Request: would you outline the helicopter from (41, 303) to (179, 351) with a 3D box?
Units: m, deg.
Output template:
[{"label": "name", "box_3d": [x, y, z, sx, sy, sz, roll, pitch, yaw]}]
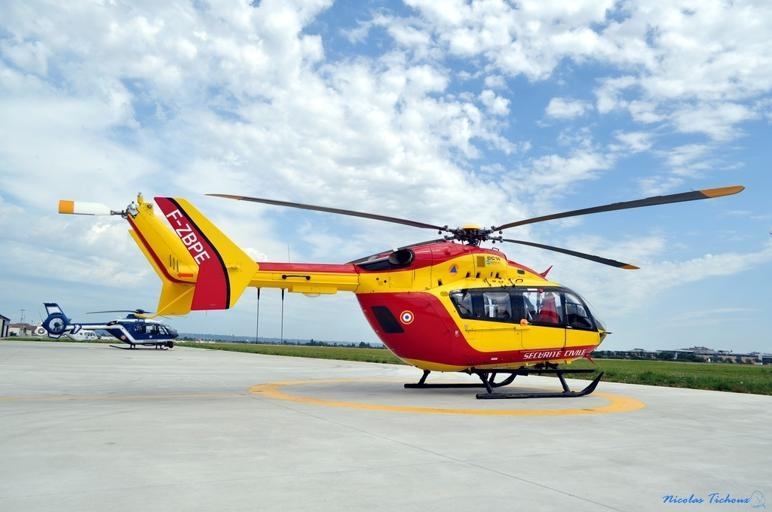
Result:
[{"label": "helicopter", "box_3d": [-21.810, 5.913, 43.157, 12.051, 2.549, 8.311, 5, -11, -19]}]
